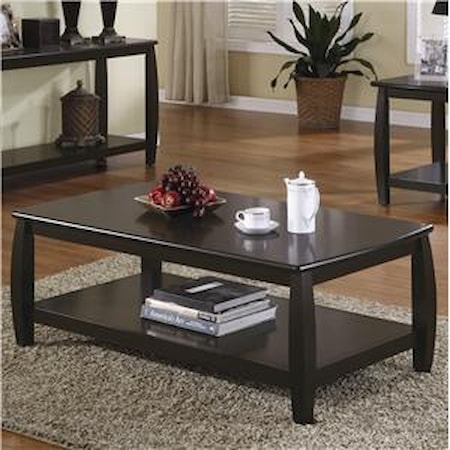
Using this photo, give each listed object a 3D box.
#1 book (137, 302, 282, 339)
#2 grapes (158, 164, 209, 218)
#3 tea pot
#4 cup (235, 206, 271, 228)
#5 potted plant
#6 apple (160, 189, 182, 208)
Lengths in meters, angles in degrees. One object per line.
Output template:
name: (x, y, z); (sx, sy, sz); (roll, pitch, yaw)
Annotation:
book: (-0.011, 0.245, 1.255); (0.146, 0.019, 0.134); (9, 11, 37)
grapes: (-0.126, -0.103, 1.434); (0.116, 0.077, 0.171); (-6, 26, -27)
tea pot: (0.194, -0.059, 1.234); (0.088, 0.153, 0.213); (3, 5, 9)
cup: (0.073, -0.023, 1.262); (0.079, 0.035, 0.057); (2, 14, 30)
potted plant: (1.118, -1.869, 5.628); (1.118, 1.569, 0.770); (3, 5, 5)
apple: (-0.155, -0.073, 1.390); (0.053, 0.051, 0.054); (-3, -5, 5)
